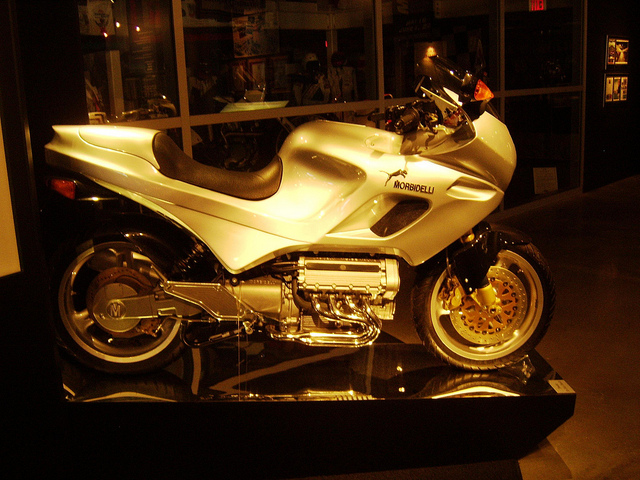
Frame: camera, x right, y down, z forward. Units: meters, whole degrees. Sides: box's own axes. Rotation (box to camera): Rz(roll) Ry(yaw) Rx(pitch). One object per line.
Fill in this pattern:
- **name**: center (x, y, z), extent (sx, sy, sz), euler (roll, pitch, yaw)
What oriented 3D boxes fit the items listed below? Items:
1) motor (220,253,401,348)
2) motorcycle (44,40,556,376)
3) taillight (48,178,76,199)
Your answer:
- **motor**: center (-0.014, 0.329, 2.588), extent (0.622, 0.312, 0.518), euler (1, 54, -2)
- **motorcycle**: center (-0.039, -0.247, 3.467), extent (2.734, 2.187, 1.247), euler (-1, 7, -2)
- **taillight**: center (-1.231, -0.247, 2.601), extent (0.144, 0.092, 0.024), euler (3, 13, 14)
